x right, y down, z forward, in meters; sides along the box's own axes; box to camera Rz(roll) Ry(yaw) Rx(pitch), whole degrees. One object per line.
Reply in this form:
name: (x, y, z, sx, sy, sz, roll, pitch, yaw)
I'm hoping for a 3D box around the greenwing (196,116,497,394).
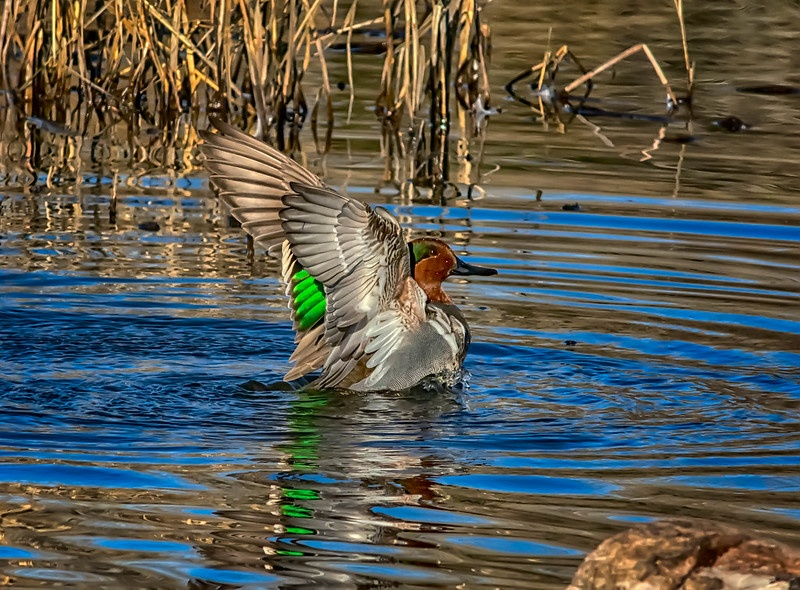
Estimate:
greenwing: (-0.499, -0.227, 6.275, 2.144, 1.456, 1.481, 6, 15, 16)
